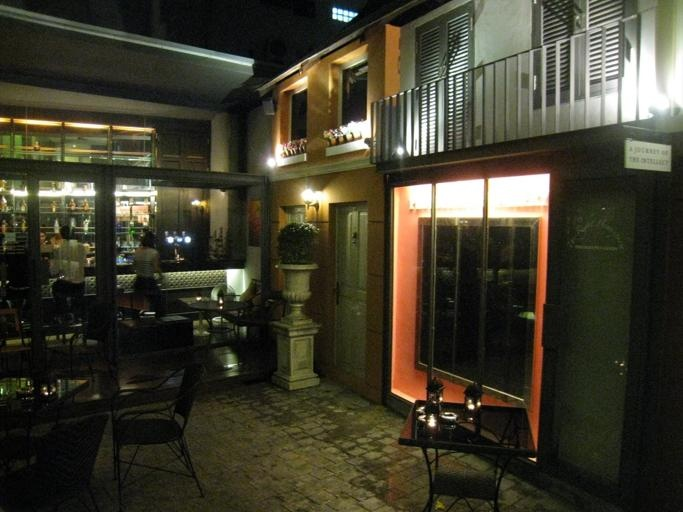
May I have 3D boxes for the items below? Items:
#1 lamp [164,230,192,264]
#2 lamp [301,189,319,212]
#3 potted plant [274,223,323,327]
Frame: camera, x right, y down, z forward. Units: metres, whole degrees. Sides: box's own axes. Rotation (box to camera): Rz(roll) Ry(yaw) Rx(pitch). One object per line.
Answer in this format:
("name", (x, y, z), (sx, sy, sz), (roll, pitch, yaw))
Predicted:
("lamp", (-3.888, -0.199, 14.679), (0.766, 0.873, 0.764), (0, 5, -24))
("lamp", (-0.560, -1.011, 10.833), (0.234, 0.418, 0.447), (-1, 3, -24))
("potted plant", (-0.709, 0.276, 9.920), (0.619, 1.608, 0.380), (0, 3, -7))
